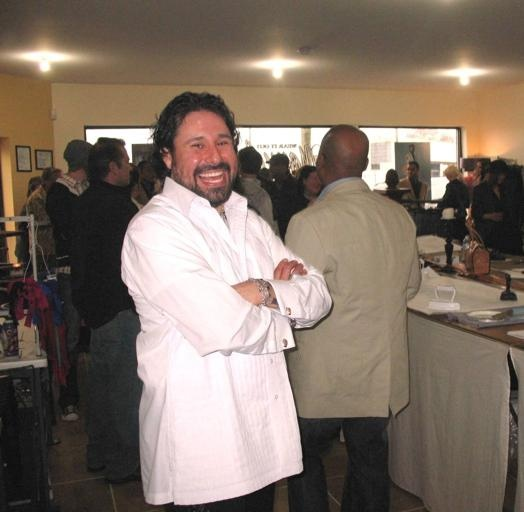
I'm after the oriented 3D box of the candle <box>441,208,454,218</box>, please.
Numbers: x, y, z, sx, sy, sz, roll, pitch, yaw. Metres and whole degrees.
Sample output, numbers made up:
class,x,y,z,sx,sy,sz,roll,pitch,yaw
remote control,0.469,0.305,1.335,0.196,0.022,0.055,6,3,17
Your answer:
class,x,y,z,sx,sy,sz,roll,pitch,yaw
candle,1.256,-0.282,3.427,0.072,0.081,0.198,-1,3,18

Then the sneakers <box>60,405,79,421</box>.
class,x,y,z,sx,sy,sz,roll,pitch,yaw
sneakers,-1.297,1.061,3.454,0.063,0.061,0.117,3,5,-25
